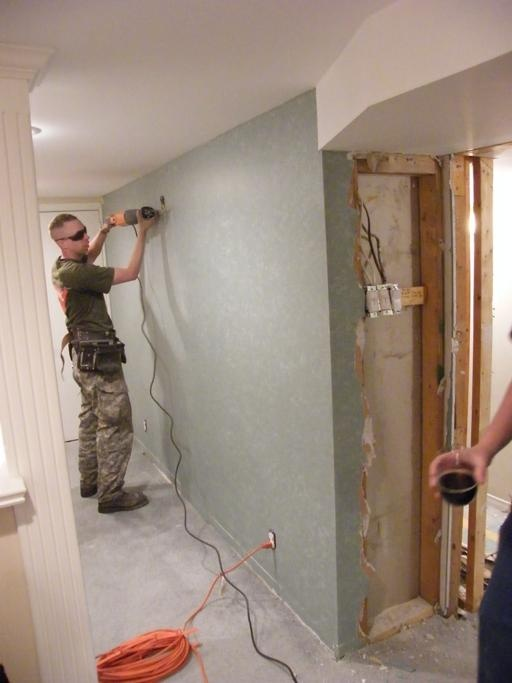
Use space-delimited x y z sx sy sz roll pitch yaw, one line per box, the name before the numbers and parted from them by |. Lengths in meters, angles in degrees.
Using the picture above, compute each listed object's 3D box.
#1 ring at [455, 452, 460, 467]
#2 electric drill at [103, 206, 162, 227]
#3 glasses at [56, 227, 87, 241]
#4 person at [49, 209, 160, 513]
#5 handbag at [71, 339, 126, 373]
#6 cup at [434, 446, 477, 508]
ring | 0.474 0.279 1.357 0.008 0.031 0.017 1 -6 -29
electric drill | -0.715 -0.753 3.457 0.371 0.089 0.134 1 10 28
glasses | -1.044 -0.620 3.333 0.098 0.031 0.099 -14 21 -6
person | -0.937 0.126 3.629 0.540 1.829 0.551 -8 10 -26
handbag | -0.948 0.085 3.533 0.301 0.216 0.235 -7 10 -22
cup | 0.473 0.349 1.359 0.081 0.085 0.103 -15 24 -12
